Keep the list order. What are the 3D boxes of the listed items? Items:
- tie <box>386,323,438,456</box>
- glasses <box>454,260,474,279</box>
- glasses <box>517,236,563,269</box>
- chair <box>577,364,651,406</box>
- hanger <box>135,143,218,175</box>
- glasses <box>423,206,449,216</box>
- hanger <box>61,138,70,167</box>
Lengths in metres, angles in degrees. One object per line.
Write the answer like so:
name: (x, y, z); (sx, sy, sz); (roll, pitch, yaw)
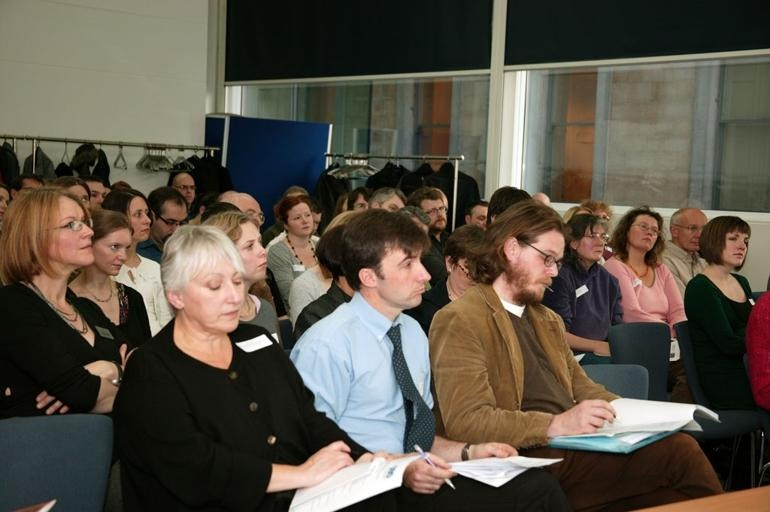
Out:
tie: (0.123, 0.656, 3.409); (0.169, 0.604, 0.273); (-4, 9, -39)
glasses: (0.470, 0.089, 4.316); (0.033, 0.109, 0.101); (14, -15, -38)
glasses: (0.822, -0.015, 3.636); (0.176, 0.059, 0.174); (39, 13, 34)
chair: (1.401, 0.762, 4.157); (0.262, 0.337, 0.258); (1, -9, -4)
hanger: (-2.525, -1.177, 8.614); (0.330, 0.405, 1.256); (-1, 0, 42)
glasses: (0.457, -0.427, 6.650); (0.147, 0.049, 0.153); (1, -5, -35)
hanger: (-3.724, -1.203, 7.952); (0.100, 0.245, 0.067); (-4, 9, -42)
